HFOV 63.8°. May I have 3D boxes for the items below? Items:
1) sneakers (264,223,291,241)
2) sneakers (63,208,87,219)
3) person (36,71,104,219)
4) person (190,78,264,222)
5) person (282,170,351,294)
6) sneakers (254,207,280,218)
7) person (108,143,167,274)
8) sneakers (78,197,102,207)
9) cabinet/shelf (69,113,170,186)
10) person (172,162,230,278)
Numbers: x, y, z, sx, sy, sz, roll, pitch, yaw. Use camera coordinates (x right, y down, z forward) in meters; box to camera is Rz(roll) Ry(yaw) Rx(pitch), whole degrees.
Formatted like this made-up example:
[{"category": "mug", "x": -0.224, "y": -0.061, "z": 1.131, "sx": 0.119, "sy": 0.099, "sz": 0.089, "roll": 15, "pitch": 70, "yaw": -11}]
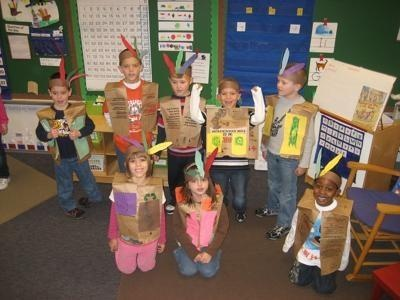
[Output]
[{"category": "sneakers", "x": 0.809, "y": 0.850, "z": 3.370, "sx": 0.277, "sy": 0.112, "sz": 0.111, "roll": -5, "pitch": 22, "yaw": -17}, {"category": "sneakers", "x": -1.401, "y": 0.696, "z": 3.595, "sx": 0.204, "sy": 0.089, "sz": 0.100, "roll": 2, "pitch": 31, "yaw": 14}, {"category": "person", "x": -1.399, "y": -0.021, "z": 3.446, "sx": 0.589, "sy": 1.477, "sz": 0.499, "roll": -14, "pitch": 24, "yaw": -35}, {"category": "person", "x": 0.272, "y": 0.049, "z": 3.254, "sx": 0.726, "sy": 1.548, "sz": 0.435, "roll": 2, "pitch": 23, "yaw": 8}, {"category": "person", "x": 0.998, "y": 0.685, "z": 2.693, "sx": 0.515, "sy": 1.052, "sz": 0.310, "roll": 11, "pitch": 28, "yaw": 24}, {"category": "sneakers", "x": 0.759, "y": 0.706, "z": 3.650, "sx": 0.281, "sy": 0.098, "sz": 0.113, "roll": 1, "pitch": -10, "yaw": -2}, {"category": "person", "x": -0.552, "y": 0.541, "z": 2.863, "sx": 0.514, "sy": 1.096, "sz": 0.342, "roll": 2, "pitch": 12, "yaw": -5}, {"category": "sneakers", "x": -1.307, "y": 0.602, "z": 3.796, "sx": 0.232, "sy": 0.101, "sz": 0.115, "roll": 6, "pitch": 14, "yaw": -11}, {"category": "cabinet/shelf", "x": -0.888, "y": -0.023, "z": 3.397, "sx": 0.879, "sy": 0.545, "sz": 0.311, "roll": 0, "pitch": 12, "yaw": -5}, {"category": "person", "x": 0.002, "y": 0.603, "z": 2.794, "sx": 0.493, "sy": 1.064, "sz": 0.347, "roll": -4, "pitch": 26, "yaw": -6}]
